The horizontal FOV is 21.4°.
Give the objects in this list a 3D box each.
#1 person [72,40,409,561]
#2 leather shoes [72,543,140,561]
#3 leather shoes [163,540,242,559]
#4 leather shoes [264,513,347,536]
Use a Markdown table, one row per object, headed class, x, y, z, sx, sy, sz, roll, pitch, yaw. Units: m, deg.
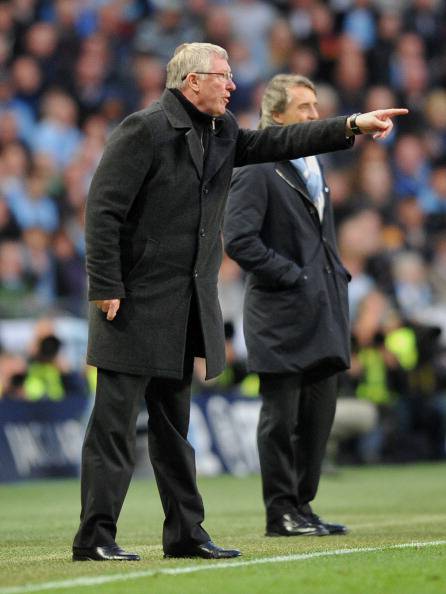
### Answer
| class | x | y | z | sx | sy | sz | roll | pitch | yaw |
| --- | --- | --- | --- | --- | --- | --- | --- | --- | --- |
| person | -0.128 | 0.020 | 4.230 | 0.582 | 1.800 | 1.048 | 14 | 21 | 40 |
| leather shoes | -0.387 | 0.885 | 4.110 | 0.227 | 0.064 | 0.077 | -4 | -8 | 10 |
| leather shoes | -0.064 | 0.906 | 4.190 | 0.254 | 0.059 | 0.086 | -5 | -10 | 9 |
| leather shoes | 0.346 | 0.977 | 5.013 | 0.200 | 0.062 | 0.149 | -6 | -10 | 24 |
